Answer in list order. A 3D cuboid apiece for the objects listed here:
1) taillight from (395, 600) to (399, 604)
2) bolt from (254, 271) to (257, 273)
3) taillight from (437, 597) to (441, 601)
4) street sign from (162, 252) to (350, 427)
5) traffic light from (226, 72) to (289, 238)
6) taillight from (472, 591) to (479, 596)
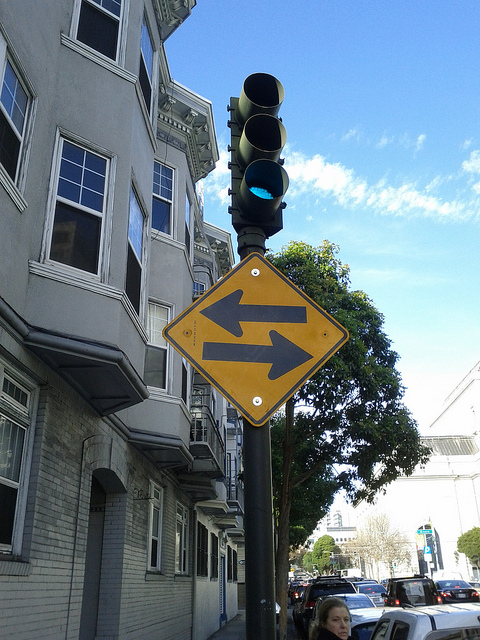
[{"bbox_3d":[4.957,8.886,16.116,0.069,0.137,0.080,-16,-70,12],"label":"taillight"},{"bbox_3d":[0.068,-0.217,2.297,0.009,0.010,0.002,2,-6,-11],"label":"bolt"},{"bbox_3d":[6.339,8.860,16.261,0.099,0.116,0.196,9,-11,2],"label":"taillight"},{"bbox_3d":[0.073,0.067,2.129,0.697,0.677,0.183,-43,-18,-23],"label":"street sign"},{"bbox_3d":[0.083,-0.937,2.716,0.303,1.091,0.418,-1,-23,-3],"label":"traffic light"},{"bbox_3d":[9.100,10.591,19.807,0.167,0.140,0.469,-15,-28,23],"label":"taillight"}]
